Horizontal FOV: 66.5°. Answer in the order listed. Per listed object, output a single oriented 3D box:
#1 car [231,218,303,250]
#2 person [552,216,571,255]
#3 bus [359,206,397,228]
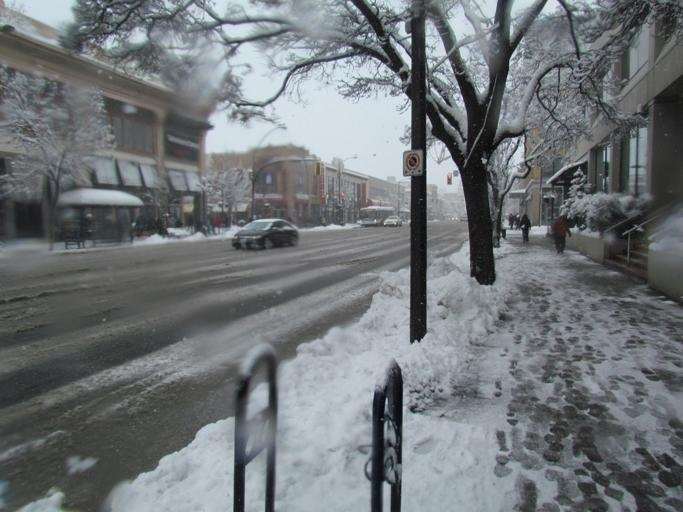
[{"bbox_3d":[-3.637,-1.022,24.974,1.308,1.358,3.405,3,8,34],"label":"car"},{"bbox_3d":[9.079,-0.882,21.273,0.607,1.537,1.772,2,7,24],"label":"person"},{"bbox_3d":[4.671,-5.167,68.720,2.111,2.735,8.363,-2,1,19],"label":"bus"}]
